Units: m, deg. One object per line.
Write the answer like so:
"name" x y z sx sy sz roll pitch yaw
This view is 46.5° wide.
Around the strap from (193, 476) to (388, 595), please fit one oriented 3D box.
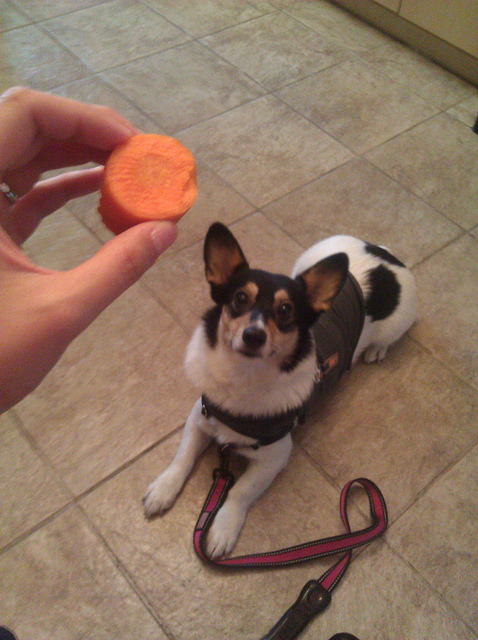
"strap" 0.164 0.746 1.975 0.585 0.095 0.384 8 41 7
